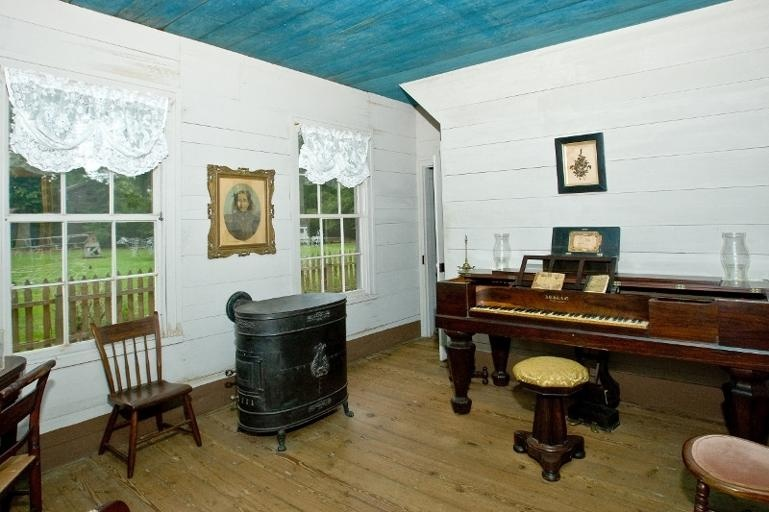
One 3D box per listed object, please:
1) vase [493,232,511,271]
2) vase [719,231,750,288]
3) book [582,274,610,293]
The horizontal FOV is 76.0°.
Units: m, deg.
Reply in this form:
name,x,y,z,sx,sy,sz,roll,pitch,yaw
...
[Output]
name,x,y,z,sx,sy,sz,roll,pitch,yaw
vase,1.214,-0.051,5.067,0.154,0.354,0.162,-2,7,6
vase,2.889,0.018,4.051,0.182,0.417,0.191,-1,8,16
book,1.825,0.232,4.223,0.155,0.049,0.212,-2,47,34
